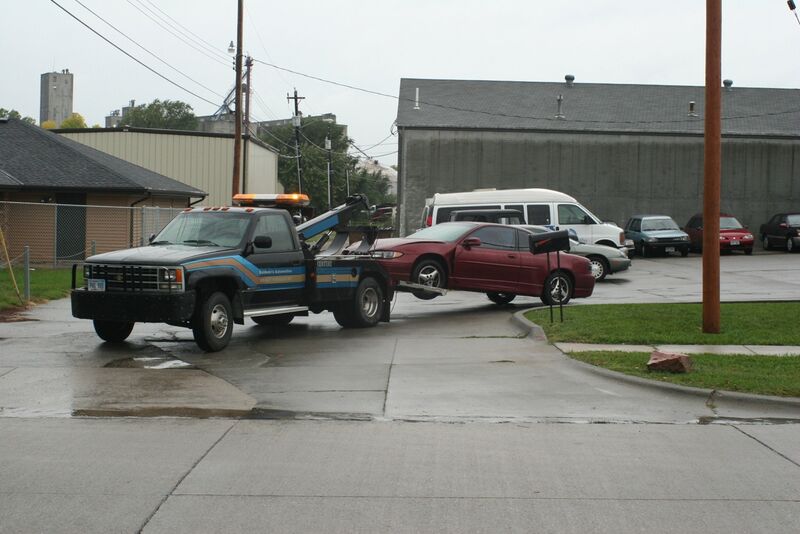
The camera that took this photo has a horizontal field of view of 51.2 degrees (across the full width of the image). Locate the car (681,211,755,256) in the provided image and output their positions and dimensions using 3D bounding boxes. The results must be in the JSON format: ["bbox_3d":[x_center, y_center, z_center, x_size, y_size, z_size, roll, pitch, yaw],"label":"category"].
[{"bbox_3d":[13.712,-1.185,35.393,2.304,1.751,3.077,3,12,10],"label":"car"}]

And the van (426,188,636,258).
[{"bbox_3d":[4.286,-1.640,27.276,5.743,2.048,2.647,-2,1,3],"label":"van"}]

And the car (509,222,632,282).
[{"bbox_3d":[5.162,-0.319,24.365,3.903,1.189,1.606,-2,5,-5],"label":"car"}]

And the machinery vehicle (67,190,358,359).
[{"bbox_3d":[-2.883,0.085,15.226,2.339,2.175,5.490,-2,-1,33],"label":"machinery vehicle"}]

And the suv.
[{"bbox_3d":[3.210,-1.579,25.962,2.931,1.286,1.721,-2,3,-11],"label":"suv"}]

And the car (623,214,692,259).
[{"bbox_3d":[10.688,-1.261,34.789,2.106,1.405,3.306,-1,1,-8],"label":"car"}]
